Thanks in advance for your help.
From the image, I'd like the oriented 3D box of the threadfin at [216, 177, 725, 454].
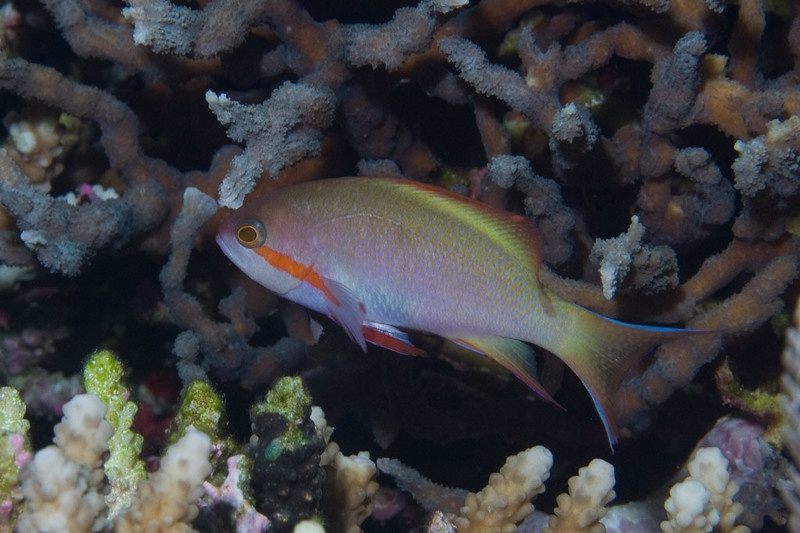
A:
[{"bbox_3d":[0.460,0.243,5.464,2.184,0.538,0.907,23,-61,12],"label":"threadfin"}]
